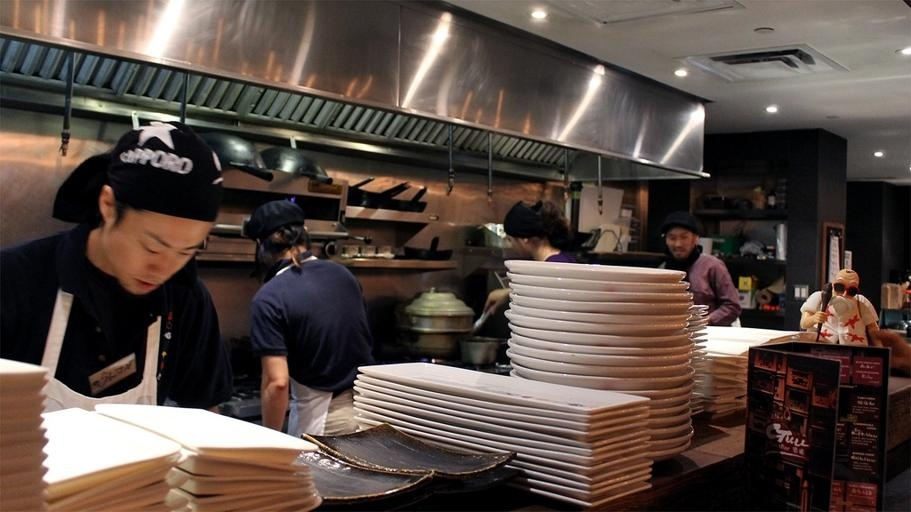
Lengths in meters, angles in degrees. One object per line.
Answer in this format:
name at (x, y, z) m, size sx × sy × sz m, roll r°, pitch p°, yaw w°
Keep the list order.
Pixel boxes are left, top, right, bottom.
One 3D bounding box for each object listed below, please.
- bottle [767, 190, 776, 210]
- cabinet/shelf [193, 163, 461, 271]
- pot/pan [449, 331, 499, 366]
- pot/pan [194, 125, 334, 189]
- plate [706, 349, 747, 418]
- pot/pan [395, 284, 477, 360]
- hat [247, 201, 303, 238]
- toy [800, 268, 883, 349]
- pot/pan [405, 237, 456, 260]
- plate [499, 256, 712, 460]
bottle at (3.739, -0.668, 7.296) m, size 0.094 × 0.180 × 0.070 m, roll 7°, pitch 3°, yaw 30°
cabinet/shelf at (-0.990, -0.321, 4.732) m, size 1.843 × 0.479 × 0.541 m, roll 0°, pitch 7°, yaw -45°
pot/pan at (0.230, 0.753, 5.039) m, size 0.375 × 0.201 × 0.380 m, roll 8°, pitch 8°, yaw 38°
pot/pan at (-1.261, -0.644, 4.112) m, size 0.579 × 0.131 × 0.552 m, roll 16°, pitch 0°, yaw -42°
plate at (1.211, 0.543, 2.714) m, size 0.321 × 0.292 × 0.099 m, roll 3°, pitch 4°, yaw -39°
pot/pan at (-0.133, 0.550, 5.274) m, size 0.763 × 0.553 × 0.691 m, roll -1°, pitch 0°, yaw 41°
hat at (-1.034, -0.186, 3.492) m, size 0.281 × 0.094 × 0.218 m, roll -18°, pitch -6°, yaw 40°
toy at (1.648, 0.210, 2.620) m, size 0.295 × 0.341 × 0.515 m, roll 7°, pitch 3°, yaw 28°
pot/pan at (-0.210, -0.033, 5.273) m, size 0.291 × 0.144 × 0.268 m, roll -2°, pitch -8°, yaw 18°
plate at (0.456, 0.368, 2.367) m, size 0.812 × 0.461 × 0.722 m, roll 1°, pitch -8°, yaw -2°
